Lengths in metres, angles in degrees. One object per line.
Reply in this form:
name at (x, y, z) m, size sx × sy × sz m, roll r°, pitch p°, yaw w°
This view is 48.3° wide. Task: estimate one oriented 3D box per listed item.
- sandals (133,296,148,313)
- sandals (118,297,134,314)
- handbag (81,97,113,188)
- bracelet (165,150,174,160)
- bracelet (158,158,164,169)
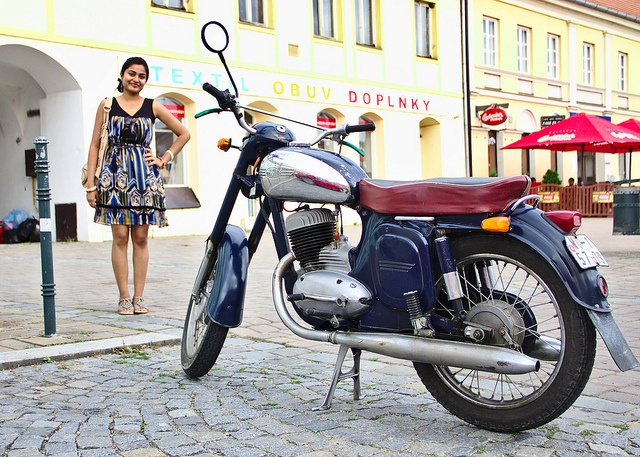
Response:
sandals at (-1.813, 0.777, 7.227) m, size 0.146 × 0.134 × 0.321 m, roll 0°, pitch -5°, yaw -17°
sandals at (-1.931, 0.779, 7.164) m, size 0.143 × 0.143 × 0.361 m, roll 1°, pitch -5°, yaw -17°
handbag at (-2.146, -0.834, 6.877) m, size 0.331 × 0.876 × 0.158 m, roll 2°, pitch 4°, yaw 14°
bracelet at (-1.469, -0.735, 7.063) m, size 0.033 × 0.087 × 0.075 m, roll -16°, pitch 8°, yaw -20°
bracelet at (-1.542, -0.647, 7.008) m, size 0.034 × 0.093 × 0.082 m, roll -5°, pitch -11°, yaw -15°
